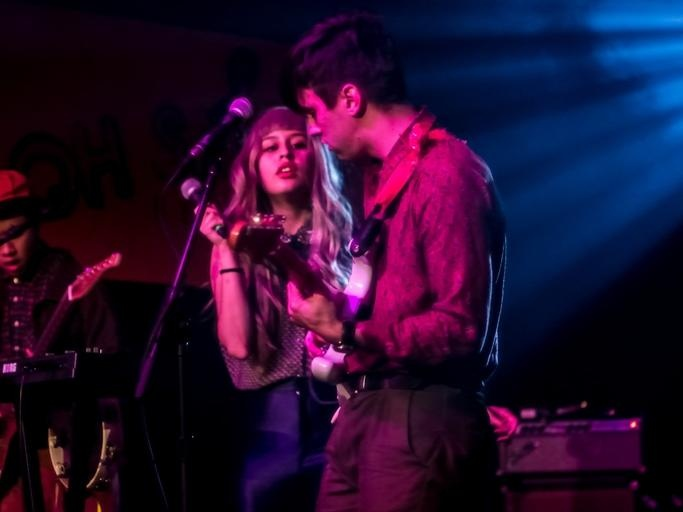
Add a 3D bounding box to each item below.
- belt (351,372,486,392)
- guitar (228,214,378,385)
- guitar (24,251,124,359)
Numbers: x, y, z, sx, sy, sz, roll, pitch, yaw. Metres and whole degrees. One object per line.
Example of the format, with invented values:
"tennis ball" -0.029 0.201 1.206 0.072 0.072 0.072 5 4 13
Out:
"belt" 0.288 0.536 2.885 0.360 0.048 0.189 -2 -4 16
"guitar" -0.199 0.066 3.067 0.939 0.165 0.477 44 -21 27
"guitar" -1.932 0.376 4.818 0.110 0.845 0.325 25 -18 50
